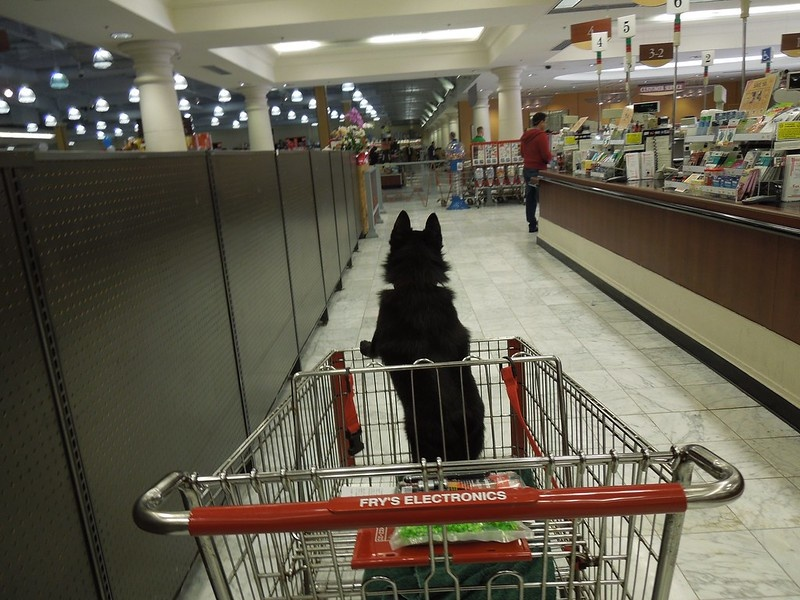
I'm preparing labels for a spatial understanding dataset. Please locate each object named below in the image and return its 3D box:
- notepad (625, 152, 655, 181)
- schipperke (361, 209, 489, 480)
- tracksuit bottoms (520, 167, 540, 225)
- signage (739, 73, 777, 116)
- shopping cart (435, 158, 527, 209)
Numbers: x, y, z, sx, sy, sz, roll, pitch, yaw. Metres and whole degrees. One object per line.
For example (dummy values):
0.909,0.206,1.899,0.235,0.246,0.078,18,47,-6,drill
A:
2.538,-1.400,5.637,0.430,0.292,0.176,-9,10,-28,notepad
0.107,0.089,2.353,0.395,1.241,0.671,-3,-28,1,schipperke
2.223,-1.741,9.151,0.240,1.003,0.818,-2,9,13,tracksuit bottoms
2.756,-1.618,4.259,0.339,0.320,0.125,-14,36,-19,signage
2.191,-3.022,14.110,2.156,1.093,1.476,-3,23,-1,shopping cart
